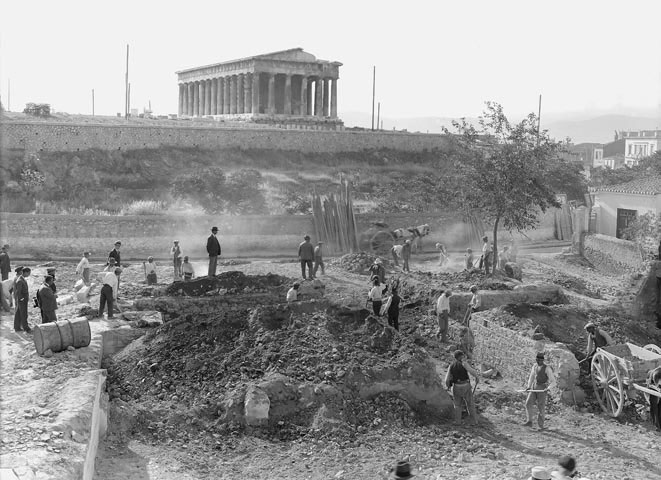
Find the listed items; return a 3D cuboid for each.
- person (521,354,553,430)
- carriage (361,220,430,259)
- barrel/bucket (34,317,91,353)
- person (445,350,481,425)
[{"bbox_3d":[5.000,3.637,16.866,0.558,1.796,0.575,0,6,17],"label":"person"},{"bbox_3d":[3.324,0.209,36.026,3.093,1.997,2.274,-9,10,-31],"label":"carriage"},{"bbox_3d":[-6.799,2.477,17.724,1.320,0.793,0.376,-6,7,-34],"label":"barrel/bucket"},{"bbox_3d":[3.155,3.501,16.668,0.733,1.786,0.433,-3,6,-16],"label":"person"}]
